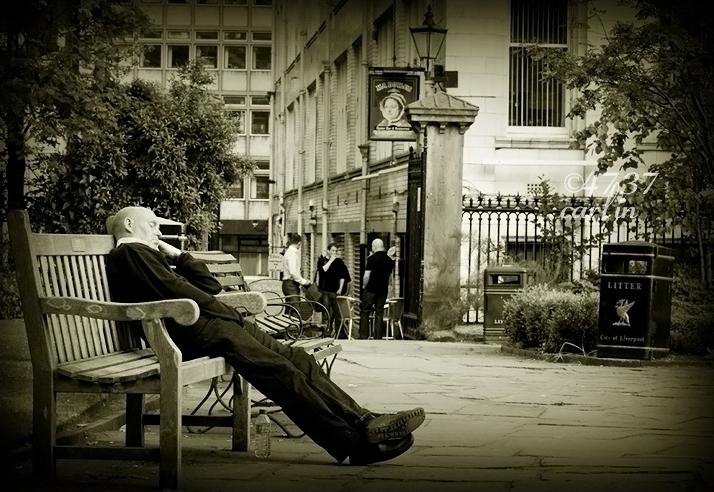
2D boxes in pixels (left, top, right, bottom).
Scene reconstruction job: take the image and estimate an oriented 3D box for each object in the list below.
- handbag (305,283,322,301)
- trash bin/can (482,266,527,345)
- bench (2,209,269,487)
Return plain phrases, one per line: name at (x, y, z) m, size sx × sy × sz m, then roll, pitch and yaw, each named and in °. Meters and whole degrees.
handbag at (-0.969, 1.045, 22.209) m, size 0.273 × 0.215 × 0.392 m, roll 46°, pitch 1°, yaw 11°
trash bin/can at (2.670, 1.047, 18.456) m, size 0.637 × 1.297 × 0.942 m, roll 5°, pitch 7°, yaw 33°
bench at (-2.363, 0.958, 10.064) m, size 2.027 × 2.614 × 1.107 m, roll 1°, pitch 6°, yaw 4°
